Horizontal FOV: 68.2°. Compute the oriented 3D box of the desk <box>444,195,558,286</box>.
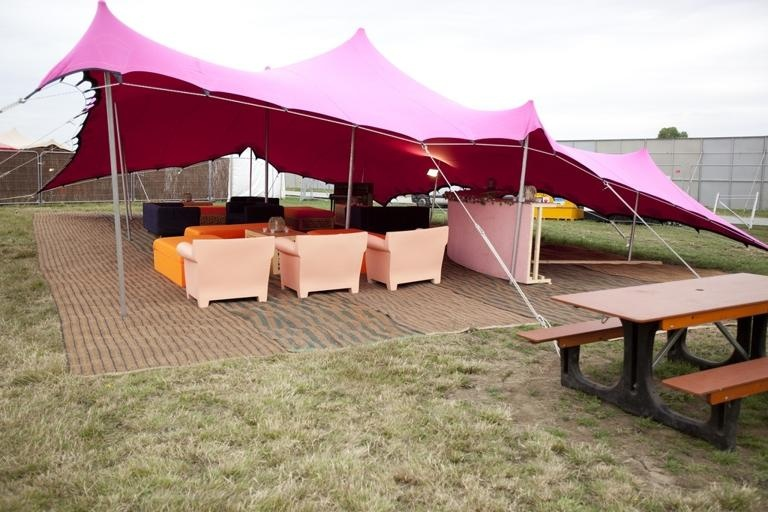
[{"bbox_3d":[2.014,-0.454,11.264,0.852,1.451,3.165,-6,9,-16],"label":"desk"}]
